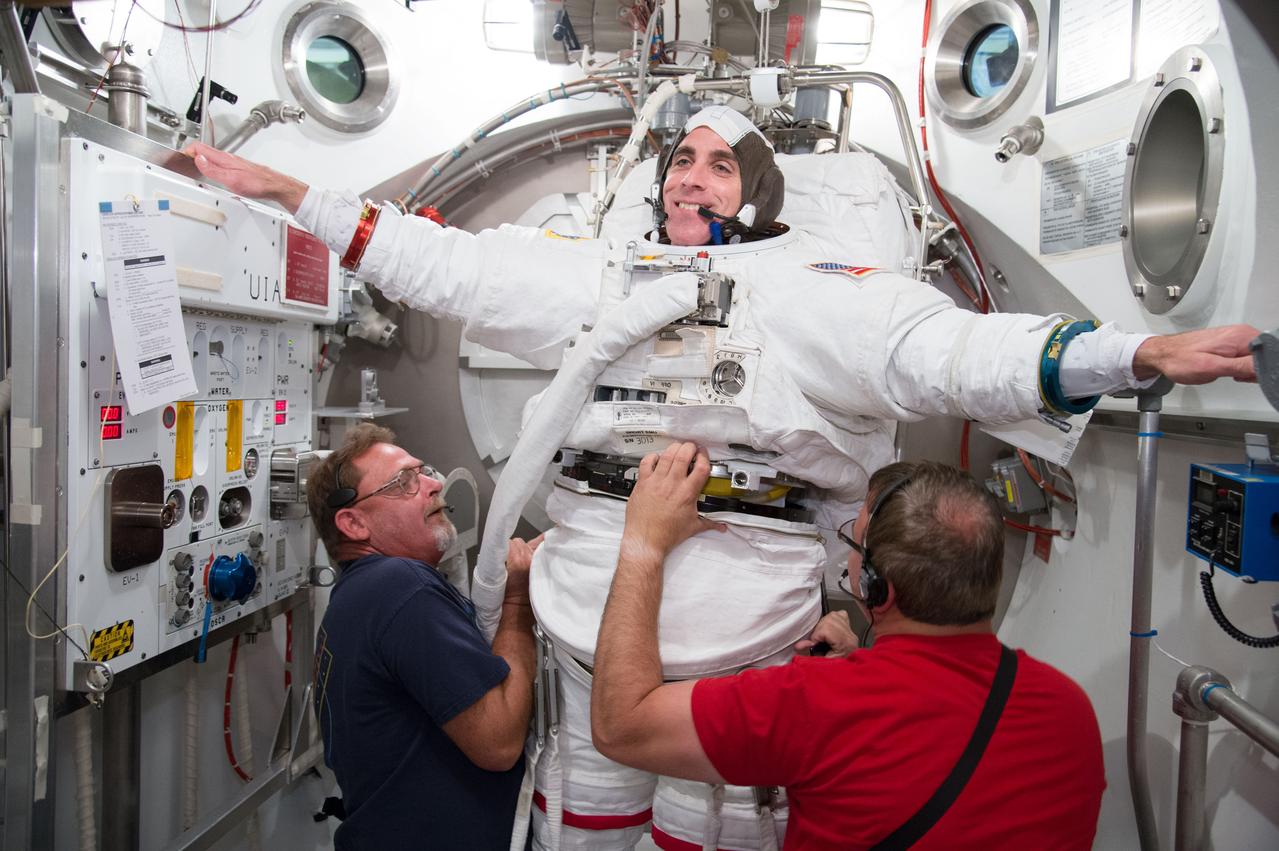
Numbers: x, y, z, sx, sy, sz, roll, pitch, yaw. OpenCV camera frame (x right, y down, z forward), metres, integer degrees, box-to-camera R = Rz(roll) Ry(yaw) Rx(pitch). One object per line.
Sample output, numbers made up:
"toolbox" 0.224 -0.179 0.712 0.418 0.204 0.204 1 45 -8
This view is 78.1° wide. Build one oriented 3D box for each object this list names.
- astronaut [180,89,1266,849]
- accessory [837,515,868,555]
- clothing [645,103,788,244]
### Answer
"astronaut" 0.292 0.160 2.494 3.081 2.539 1.112 4 4 7
"accessory" 0.623 0.315 2.279 0.035 0.116 0.115 13 -16 -33
"clothing" 0.293 -0.830 2.578 0.353 0.386 0.384 15 25 39
